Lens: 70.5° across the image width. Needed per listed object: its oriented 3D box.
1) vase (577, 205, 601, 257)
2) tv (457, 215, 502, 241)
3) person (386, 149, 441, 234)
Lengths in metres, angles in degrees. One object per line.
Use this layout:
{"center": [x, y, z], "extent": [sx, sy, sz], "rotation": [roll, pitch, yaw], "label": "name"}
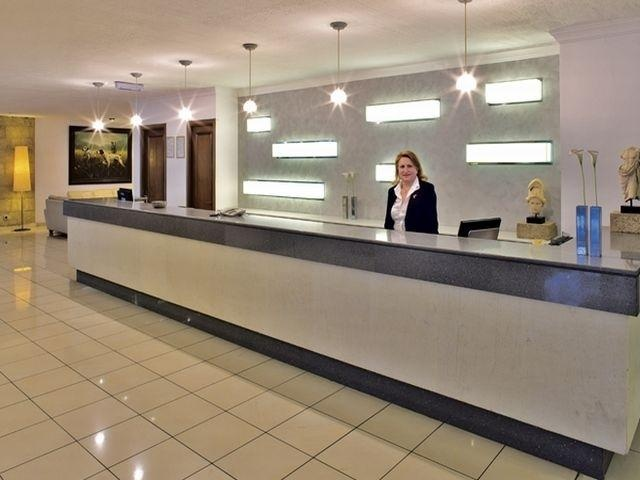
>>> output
{"center": [1.690, -0.056, 2.846], "extent": [0.158, 0.301, 0.144], "rotation": [8, 16, 32], "label": "vase"}
{"center": [1.290, -0.062, 3.678], "extent": [0.590, 0.196, 0.164], "rotation": [-13, 19, -42], "label": "tv"}
{"center": [0.880, -0.459, 4.348], "extent": [0.485, 0.741, 0.310], "rotation": [2, 14, 10], "label": "person"}
